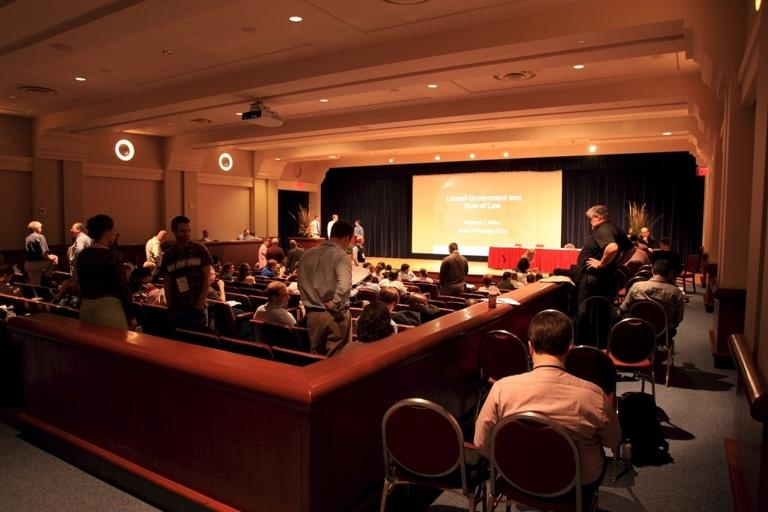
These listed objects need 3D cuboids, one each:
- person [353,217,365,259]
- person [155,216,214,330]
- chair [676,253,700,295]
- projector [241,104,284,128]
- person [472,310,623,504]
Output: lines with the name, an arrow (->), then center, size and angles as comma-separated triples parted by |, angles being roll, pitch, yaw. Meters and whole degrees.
person -> -0.792, -0.438, 16.671 | 0.378, 1.263, 0.333 | 13, 24, 41
person -> -2.255, 0.556, 6.053 | 0.539, 1.941, 0.430 | -2, 6, -2
chair -> 7.440, 0.439, 13.168 | 0.525, 0.885, 0.566 | -1, 6, -18
projector -> -2.195, -2.529, 9.774 | 0.458, 0.317, 0.675 | 5, 5, 33
person -> 1.232, 1.060, 3.975 | 1.046, 1.188, 0.352 | 2, 3, 11
